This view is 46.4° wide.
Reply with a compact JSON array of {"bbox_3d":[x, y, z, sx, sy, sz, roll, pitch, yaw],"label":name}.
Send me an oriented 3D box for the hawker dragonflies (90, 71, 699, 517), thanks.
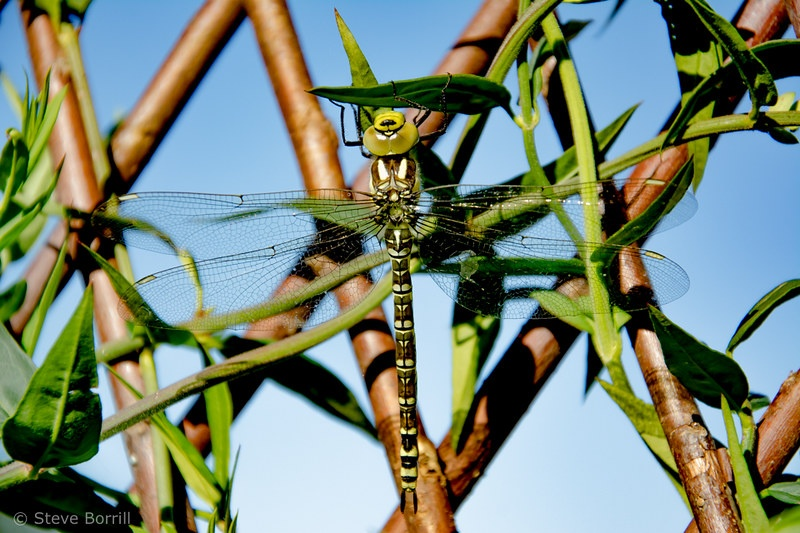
[{"bbox_3d":[-0.028,0.055,1.362,0.698,0.560,0.091,-4,-11,5],"label":"hawker dragonflies"}]
